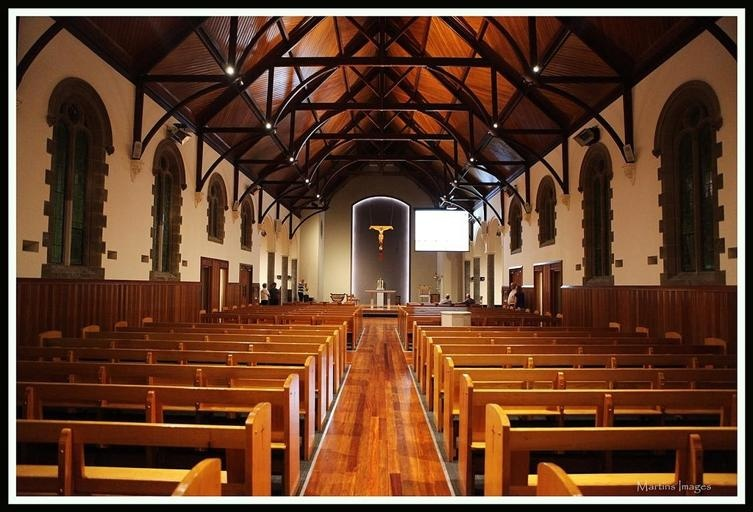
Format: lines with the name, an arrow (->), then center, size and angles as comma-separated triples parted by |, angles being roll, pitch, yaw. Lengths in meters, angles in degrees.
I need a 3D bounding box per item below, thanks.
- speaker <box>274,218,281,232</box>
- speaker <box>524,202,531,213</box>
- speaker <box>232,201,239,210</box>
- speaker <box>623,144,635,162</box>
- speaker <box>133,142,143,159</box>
speaker -> -3.945, -1.235, 23.881 | 0.337, 0.548, 0.387 | -4, 8, -27
speaker -> 4.534, -1.460, 18.097 | 0.070, 0.308, 0.250 | -7, 10, -42
speaker -> -4.191, -1.519, 18.000 | 0.131, 0.270, 0.272 | 2, 8, 19
speaker -> 4.969, -2.031, 11.841 | 0.236, 0.361, 0.151 | 3, 8, 24
speaker -> -4.836, -2.114, 12.070 | 0.178, 0.337, 0.113 | -3, 8, -19
